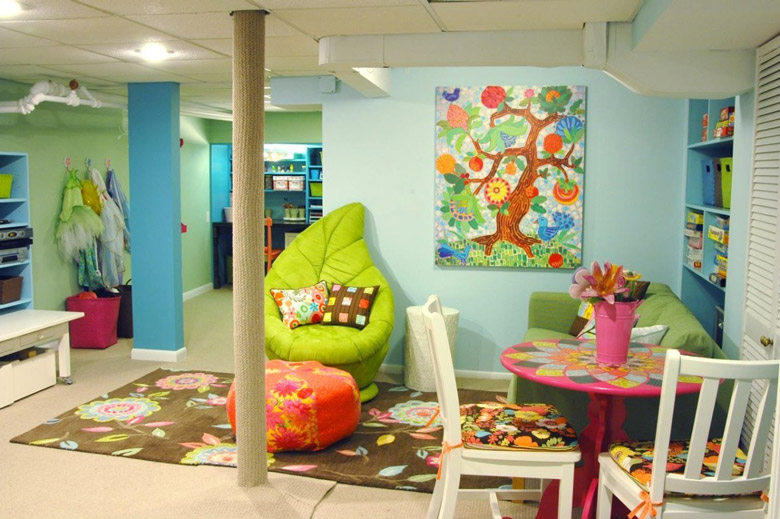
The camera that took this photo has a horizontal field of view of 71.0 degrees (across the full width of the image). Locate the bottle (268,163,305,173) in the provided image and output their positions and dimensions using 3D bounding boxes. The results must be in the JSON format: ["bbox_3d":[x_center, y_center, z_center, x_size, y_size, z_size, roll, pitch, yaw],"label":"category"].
[{"bbox_3d":[-1.822,-1.623,9.668,0.626,0.165,0.180,-1,-3,3],"label":"bottle"}]

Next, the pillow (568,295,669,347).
[{"bbox_3d":[1.823,0.521,4.164,0.475,0.195,0.483,2,6,13],"label":"pillow"}]

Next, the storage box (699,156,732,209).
[{"bbox_3d":[2.764,-0.648,4.633,0.400,0.413,0.618,2,6,30],"label":"storage box"}]

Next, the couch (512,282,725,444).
[{"bbox_3d":[2.056,0.888,5.354,1.705,1.224,2.779,11,-1,19],"label":"couch"}]

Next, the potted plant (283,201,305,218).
[{"bbox_3d":[-1.701,-0.856,9.634,0.431,0.376,0.253,-1,4,2],"label":"potted plant"}]

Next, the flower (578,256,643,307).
[{"bbox_3d":[1.363,0.135,3.330,0.507,0.249,0.184,-2,12,-10],"label":"flower"}]

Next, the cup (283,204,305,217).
[{"bbox_3d":[-1.677,-0.847,9.645,0.370,0.224,0.203,-1,0,17],"label":"cup"}]

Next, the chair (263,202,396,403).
[{"bbox_3d":[-0.653,0.436,5.546,1.345,1.525,1.572,-1,25,-1],"label":"chair"}]
